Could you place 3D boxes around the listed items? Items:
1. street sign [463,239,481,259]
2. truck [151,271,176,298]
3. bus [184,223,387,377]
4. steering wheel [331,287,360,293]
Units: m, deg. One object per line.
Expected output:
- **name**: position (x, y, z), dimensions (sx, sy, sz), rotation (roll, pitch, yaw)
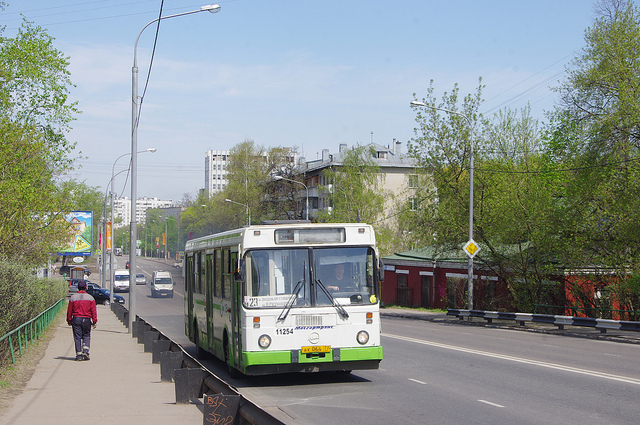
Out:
- **street sign**: position (8.442, 1.936, 40.263), dimensions (1.090, 1.230, 0.048), rotation (0, 17, -2)
- **truck**: position (-14.662, 6.696, 68.141), dimensions (1.773, 2.491, 2.773), rotation (0, -6, -18)
- **bus**: position (-1.577, 2.552, 21.710), dimensions (6.674, 4.225, 3.195), rotation (-8, -8, 41)
- **steering wheel**: position (0.847, 2.173, 20.681), dimensions (0.570, 0.131, 0.094), rotation (0, -5, -17)
